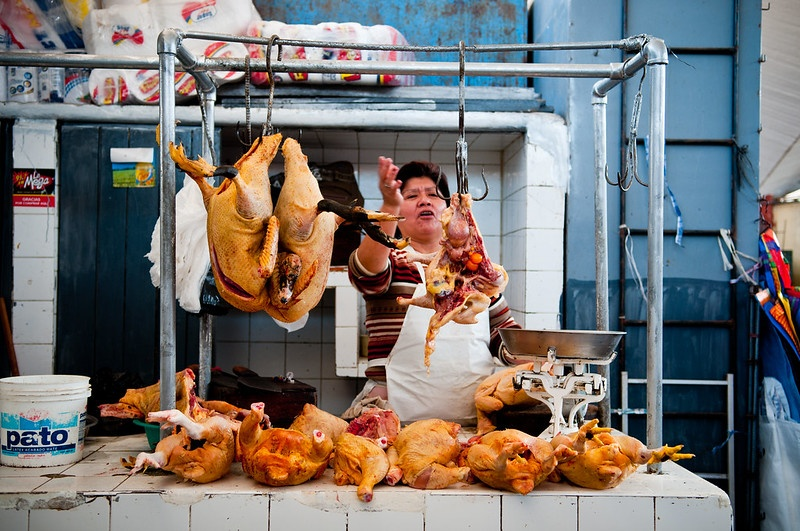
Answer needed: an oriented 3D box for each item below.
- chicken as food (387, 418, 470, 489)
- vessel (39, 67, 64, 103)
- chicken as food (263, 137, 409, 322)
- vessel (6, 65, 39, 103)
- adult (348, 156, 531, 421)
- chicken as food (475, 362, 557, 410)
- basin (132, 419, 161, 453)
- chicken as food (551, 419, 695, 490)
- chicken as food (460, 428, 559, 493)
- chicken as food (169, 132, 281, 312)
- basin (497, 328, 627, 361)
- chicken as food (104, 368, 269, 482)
[{"bbox_3d":[0.142,1.152,6.077,0.419,0.161,0.374,-24,37,-35],"label":"chicken as food"},{"bbox_3d":[-2.781,-1.483,8.149,0.216,0.221,0.377,-5,-46,-22],"label":"vessel"},{"bbox_3d":[-0.499,-0.254,6.245,0.801,0.378,0.980,15,-10,-25],"label":"chicken as food"},{"bbox_3d":[-2.987,-1.400,8.033,0.240,0.302,0.137,4,-4,-23],"label":"vessel"},{"bbox_3d":[0.245,0.229,6.945,1.241,1.930,1.194,-3,-2,-15],"label":"adult"},{"bbox_3d":[0.791,0.835,6.728,0.443,0.265,0.626,6,-12,-40],"label":"chicken as food"},{"bbox_3d":[-1.580,1.057,6.364,0.185,0.152,0.195,0,-9,0],"label":"basin"},{"bbox_3d":[1.246,1.137,6.086,0.563,0.222,0.516,19,-31,-26],"label":"chicken as food"},{"bbox_3d":[0.648,1.128,6.078,0.338,0.241,0.440,4,-1,-43],"label":"chicken as food"},{"bbox_3d":[-1.032,-0.244,6.099,0.310,1.047,0.682,-4,3,-13],"label":"chicken as food"},{"bbox_3d":[1.007,0.494,6.318,0.467,0.112,0.333,0,-20,5],"label":"basin"},{"bbox_3d":[-1.319,0.827,6.219,0.692,0.320,0.772,-2,18,-27],"label":"chicken as food"}]
